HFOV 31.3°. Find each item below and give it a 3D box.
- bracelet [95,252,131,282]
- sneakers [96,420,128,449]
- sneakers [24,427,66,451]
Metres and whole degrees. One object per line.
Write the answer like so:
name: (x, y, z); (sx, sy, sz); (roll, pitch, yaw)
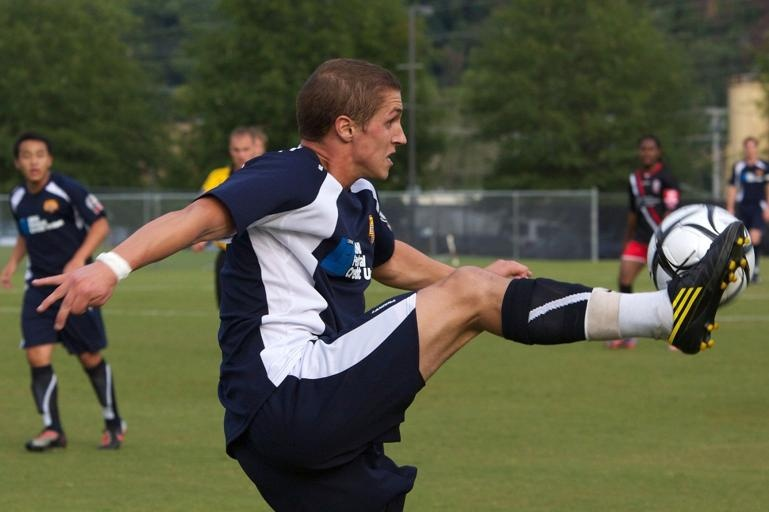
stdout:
bracelet: (-2.774, 0.084, 14.068); (0.360, 0.303, 0.161); (-1, 7, -11)
sneakers: (-3.229, 2.141, 16.378); (0.128, 0.248, 0.343); (32, 41, 7)
sneakers: (-4.003, 2.187, 16.367); (0.555, 0.250, 0.209); (-3, -10, -5)
